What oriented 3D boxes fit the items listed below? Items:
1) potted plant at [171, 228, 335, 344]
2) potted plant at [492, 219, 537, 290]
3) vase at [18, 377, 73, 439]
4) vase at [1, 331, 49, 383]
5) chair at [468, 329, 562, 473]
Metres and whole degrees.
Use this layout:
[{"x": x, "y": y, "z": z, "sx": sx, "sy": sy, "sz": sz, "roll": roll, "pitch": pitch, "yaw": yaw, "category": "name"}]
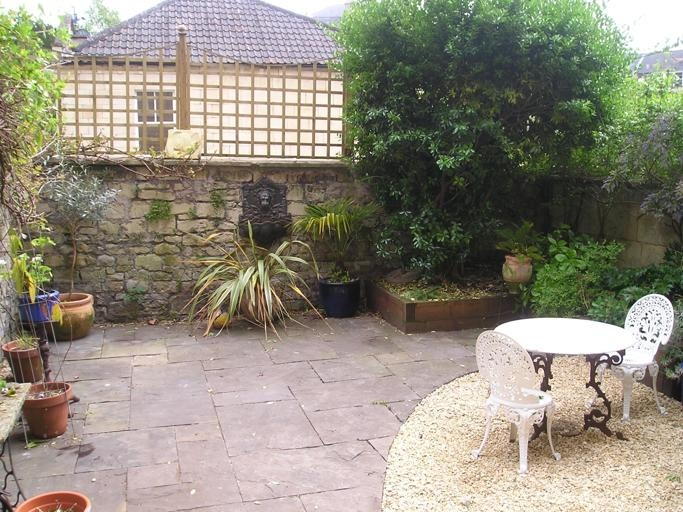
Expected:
[{"x": -1.027, "y": 0.280, "z": 6.525, "sx": 1.428, "sy": 0.849, "sz": 1.359, "roll": 2, "pitch": 1, "yaw": -39, "category": "potted plant"}, {"x": 2.156, "y": -0.011, "z": 6.554, "sx": 0.505, "sy": 0.787, "sz": 0.720, "roll": 4, "pitch": 13, "yaw": 18, "category": "potted plant"}, {"x": -2.117, "y": 1.111, "z": 3.999, "sx": 0.394, "sy": 0.331, "sz": 0.388, "roll": 0, "pitch": 0, "yaw": -1, "category": "vase"}, {"x": -2.732, "y": 0.910, "z": 4.629, "sx": 0.248, "sy": 0.359, "sz": 0.323, "roll": -11, "pitch": 17, "yaw": -40, "category": "vase"}, {"x": 1.197, "y": 0.923, "z": 3.636, "sx": 0.547, "sy": 0.932, "sz": 0.438, "roll": 9, "pitch": 16, "yaw": 36, "category": "chair"}]
